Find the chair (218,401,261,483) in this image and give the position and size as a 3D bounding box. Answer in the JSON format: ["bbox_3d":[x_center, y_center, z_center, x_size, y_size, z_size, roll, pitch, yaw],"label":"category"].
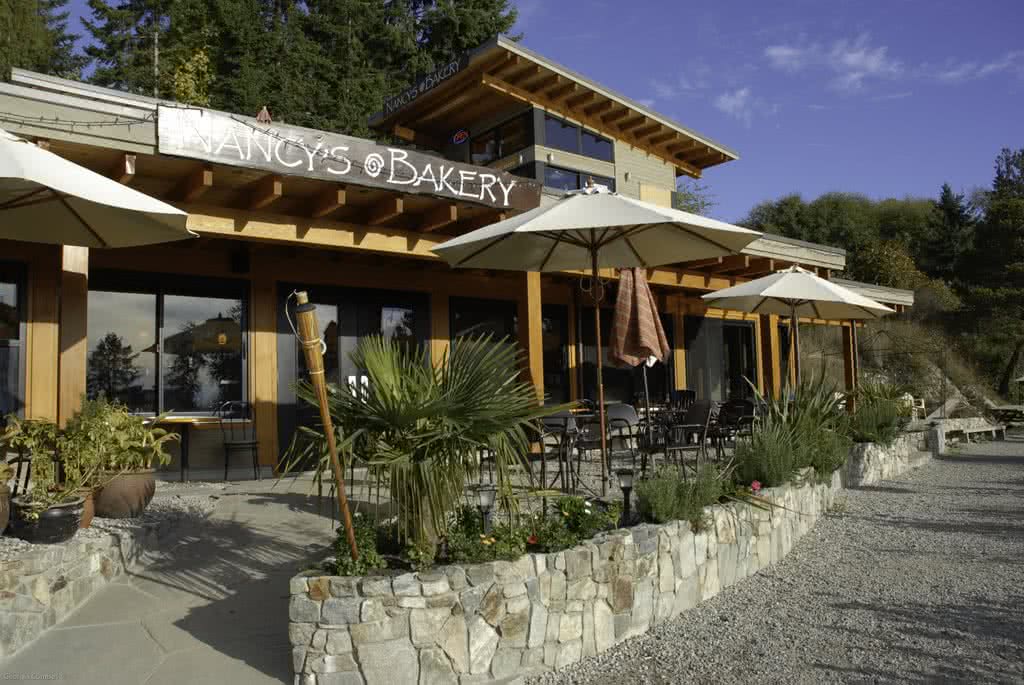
[{"bbox_3d":[-3.790,1.458,10.201,0.507,0.981,1.150,-4,14,-22],"label":"chair"}]

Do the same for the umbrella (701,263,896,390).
[{"bbox_3d":[3.995,-0.169,10.564,2.008,1.635,2.112,-8,-7,-4],"label":"umbrella"}]

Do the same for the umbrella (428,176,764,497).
[{"bbox_3d":[1.219,0.231,9.375,3.430,3.811,3.400,-3,-2,-45],"label":"umbrella"}]
